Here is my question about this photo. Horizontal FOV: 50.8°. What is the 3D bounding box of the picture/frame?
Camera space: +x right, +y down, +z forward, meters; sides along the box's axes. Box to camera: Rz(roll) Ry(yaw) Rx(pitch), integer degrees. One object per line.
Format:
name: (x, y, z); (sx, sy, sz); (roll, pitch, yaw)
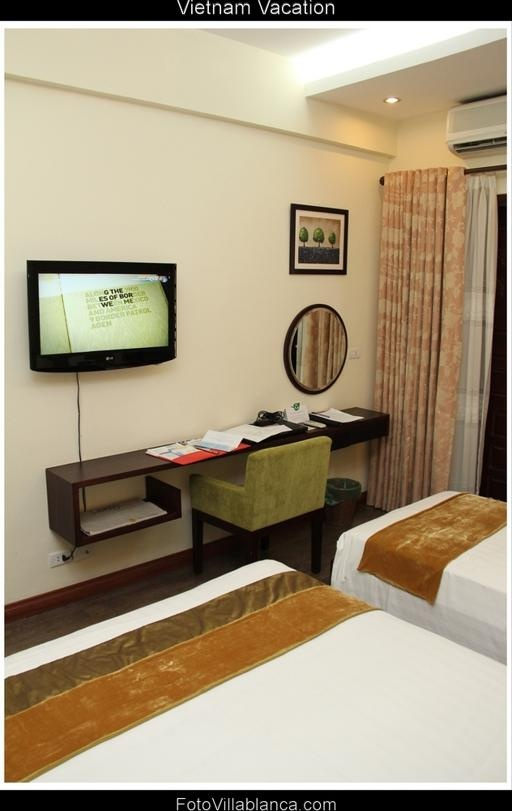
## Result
picture/frame: (0.425, -1.201, 3.863); (0.019, 0.423, 0.519); (11, 17, 41)

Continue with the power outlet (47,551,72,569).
power outlet: (-1.034, 0.808, 2.817); (0.016, 0.067, 0.099); (7, 9, 39)

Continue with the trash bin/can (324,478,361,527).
trash bin/can: (0.632, 0.726, 4.092); (0.275, 0.344, 0.318); (-1, 1, -12)
